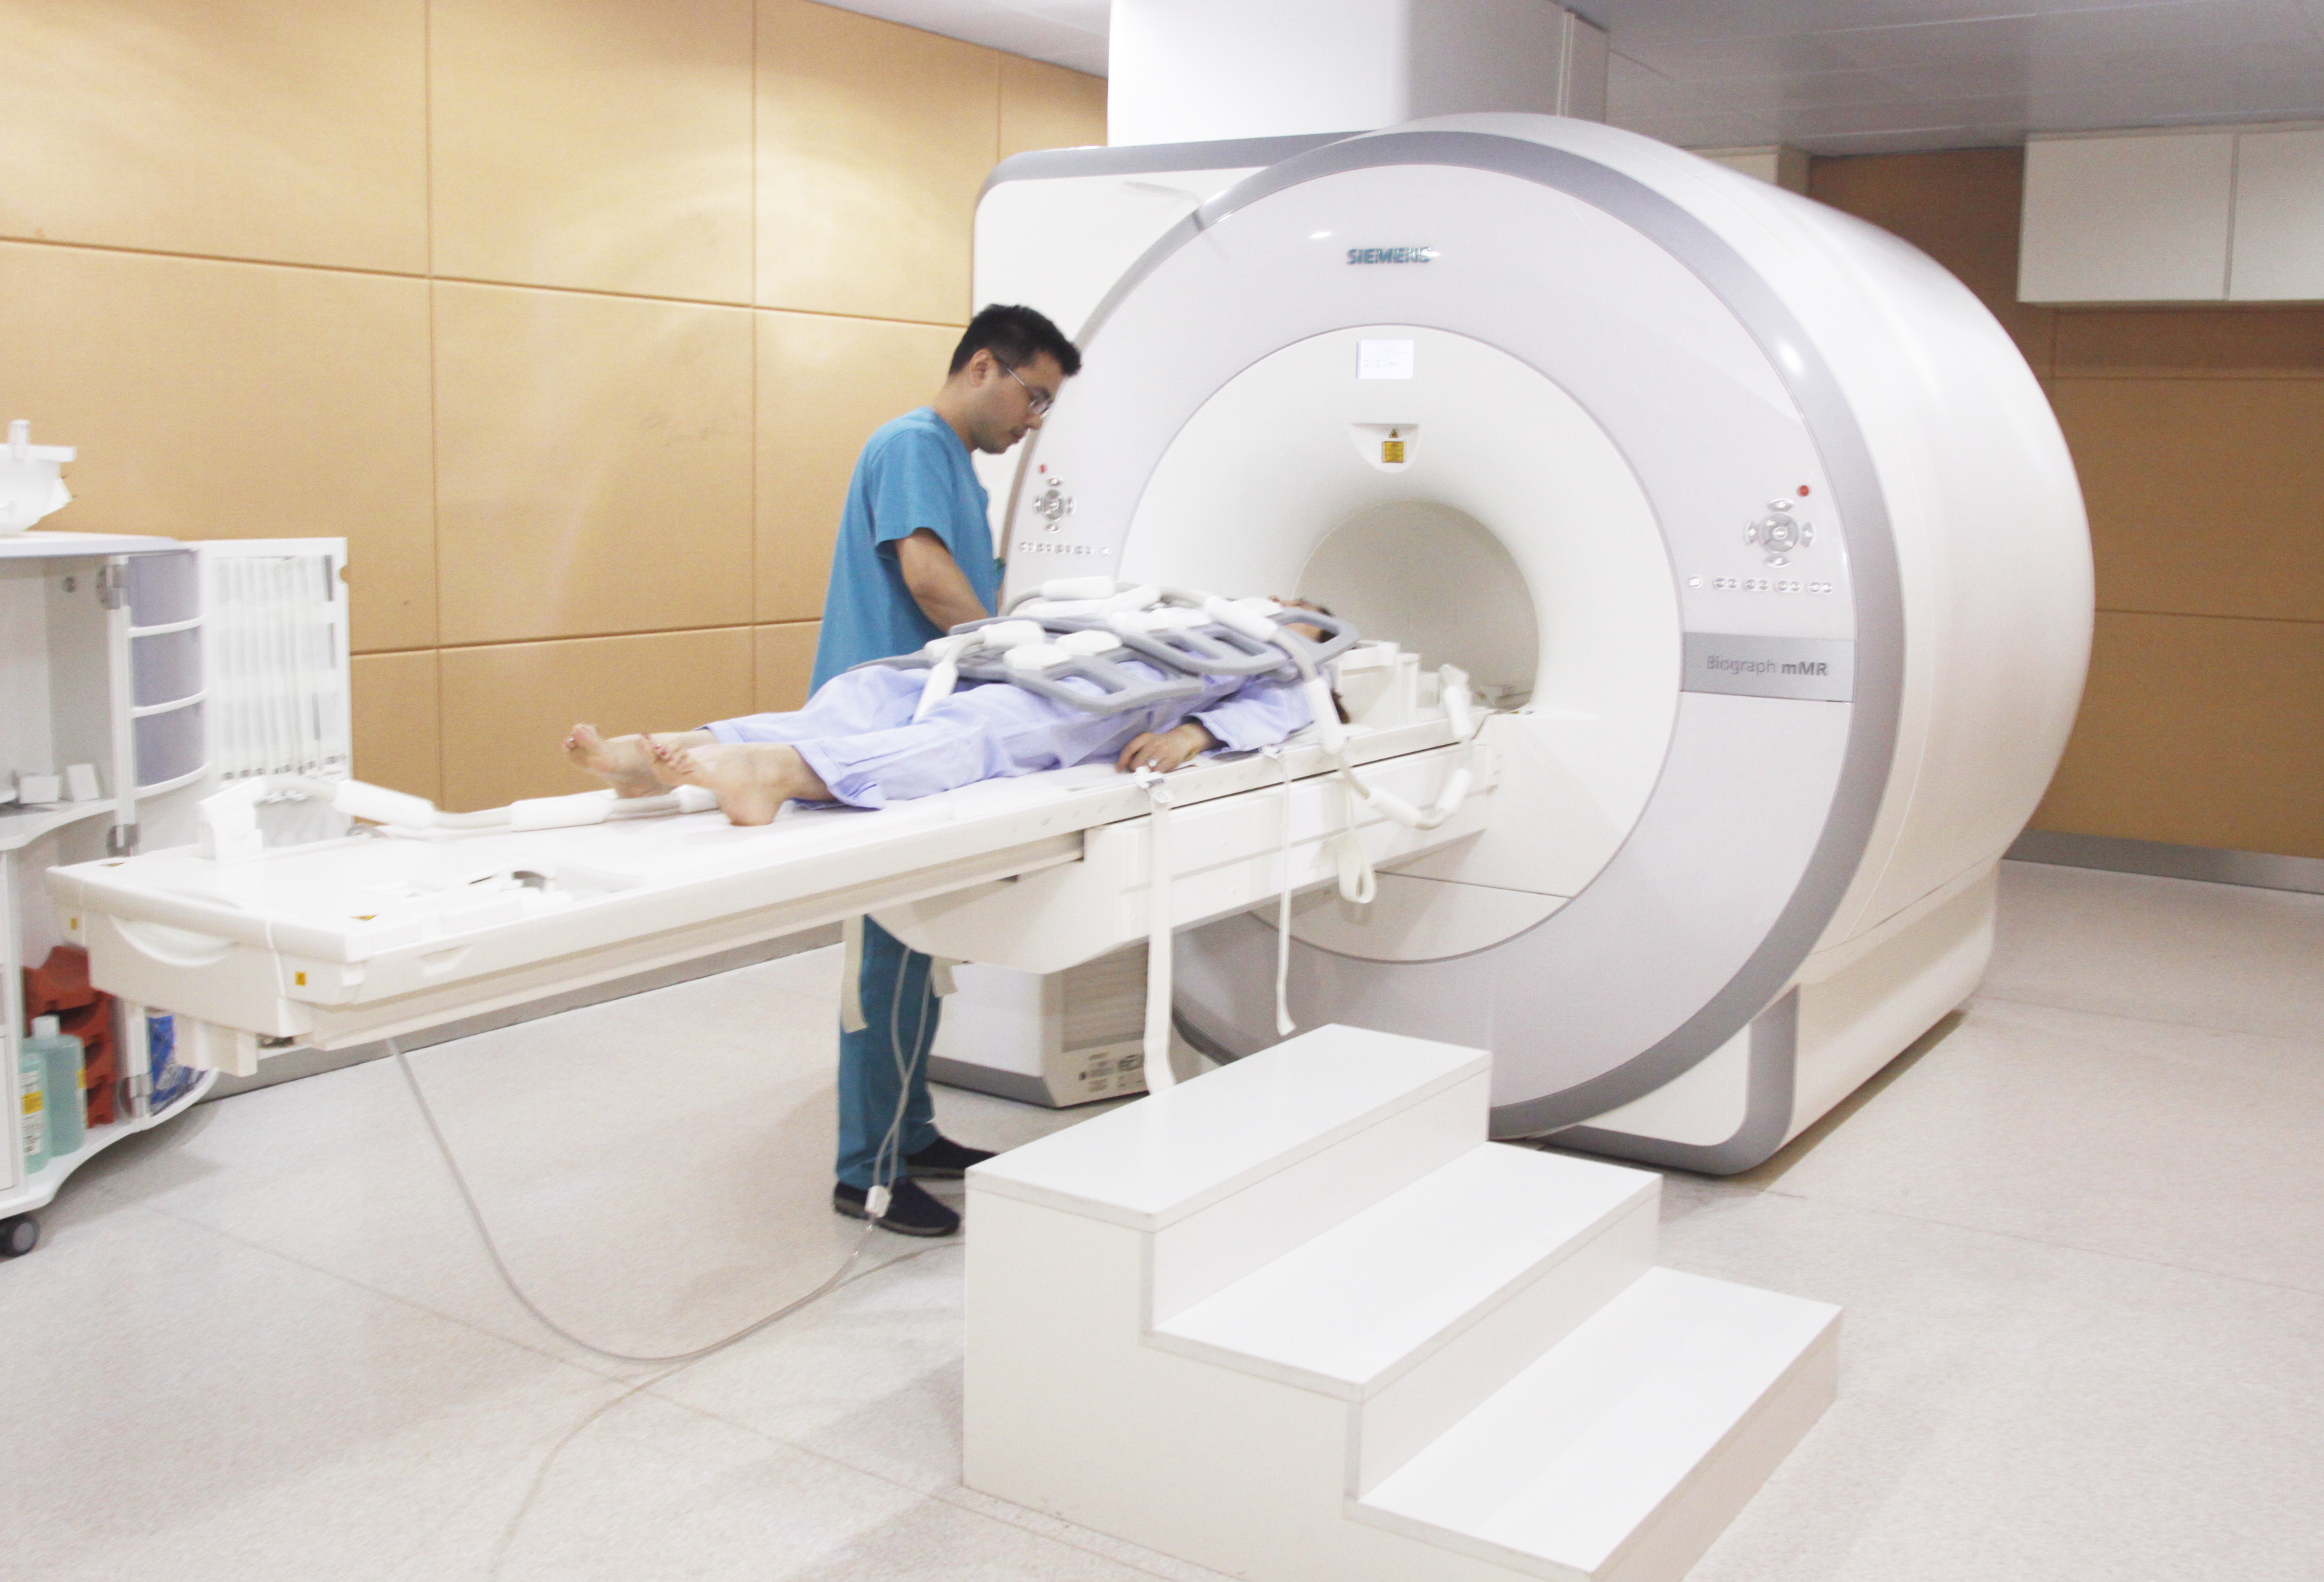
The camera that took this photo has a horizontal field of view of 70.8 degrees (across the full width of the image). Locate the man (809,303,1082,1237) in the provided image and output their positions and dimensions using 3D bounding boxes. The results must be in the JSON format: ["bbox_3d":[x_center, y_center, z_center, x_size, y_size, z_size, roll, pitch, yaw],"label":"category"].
[{"bbox_3d":[-0.350,-0.118,3.056,0.621,1.531,0.543,2,2,4],"label":"man"}]

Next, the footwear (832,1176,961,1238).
[{"bbox_3d":[-0.482,0.715,2.931,0.262,0.100,0.095,4,5,22],"label":"footwear"}]

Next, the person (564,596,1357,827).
[{"bbox_3d":[-0.290,-0.234,2.315,0.395,0.167,0.863,23,27,39],"label":"person"}]
